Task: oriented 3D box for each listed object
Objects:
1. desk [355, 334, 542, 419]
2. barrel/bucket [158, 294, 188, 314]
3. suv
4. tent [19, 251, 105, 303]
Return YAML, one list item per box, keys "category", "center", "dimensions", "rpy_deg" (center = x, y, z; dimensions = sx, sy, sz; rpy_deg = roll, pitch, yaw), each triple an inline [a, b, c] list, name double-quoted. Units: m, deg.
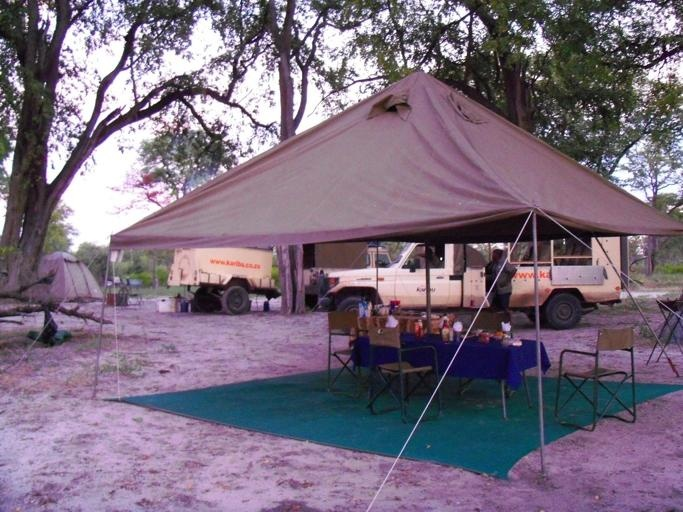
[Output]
- category: "desk"
  center: [1.445, 1.562, 8.075]
  dimensions: [2.279, 0.928, 0.941]
  rpy_deg: [1, 5, 21]
- category: "barrel/bucket"
  center: [-5.772, 1.608, 20.248]
  dimensions: [1.038, 0.499, 1.360]
  rpy_deg: [-2, 5, -18]
- category: "suv"
  center: [0.026, 0.488, 18.676]
  dimensions: [2.821, 1.836, 1.762]
  rpy_deg: [-1, -1, 7]
- category: "tent"
  center: [-10.225, 0.808, 21.655]
  dimensions: [2.115, 1.481, 2.183]
  rpy_deg: [-1, -2, 27]
